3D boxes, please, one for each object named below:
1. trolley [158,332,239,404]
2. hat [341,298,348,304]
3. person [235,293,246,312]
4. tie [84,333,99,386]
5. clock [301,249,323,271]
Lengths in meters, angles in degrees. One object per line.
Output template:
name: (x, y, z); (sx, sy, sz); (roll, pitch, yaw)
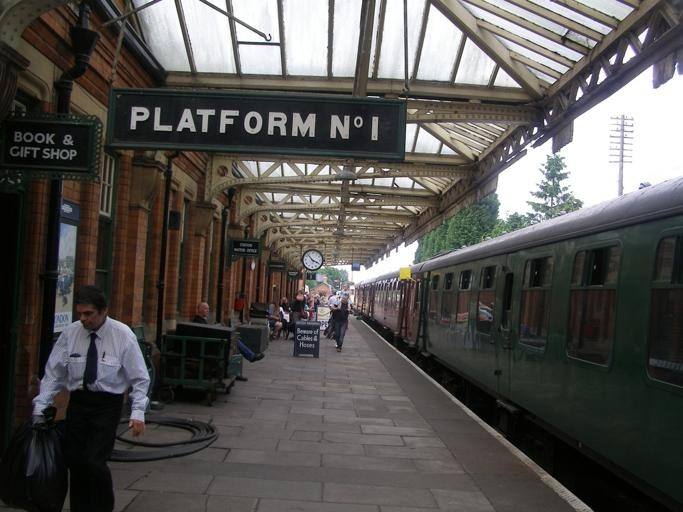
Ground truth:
trolley: (-2.592, 2.033, 9.397); (1.169, 1.066, 1.550); (2, -11, -1)
hat: (0.093, 1.514, 17.472); (0.176, 0.265, 0.252); (2, -6, -3)
person: (-3.982, 1.857, 20.276); (0.618, 0.771, 0.665); (2, -10, -11)
tie: (-2.006, 0.830, 4.150); (0.105, 0.429, 0.039); (1, -4, 9)
clock: (-1.516, 0.156, 26.447); (0.993, 1.013, 1.208); (3, -4, -7)
